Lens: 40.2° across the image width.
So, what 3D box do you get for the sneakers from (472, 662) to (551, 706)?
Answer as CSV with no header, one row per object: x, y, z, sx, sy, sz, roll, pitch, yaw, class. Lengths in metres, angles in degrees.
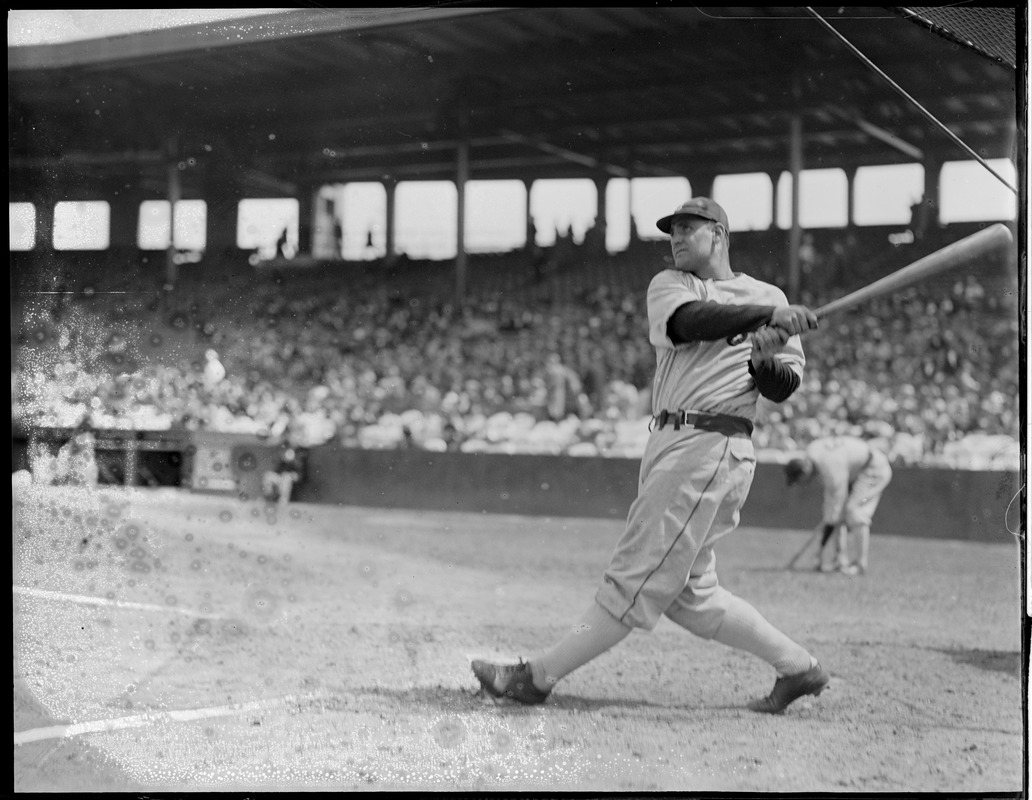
-0.029,1.047,5.289,0.304,0.152,0.120,21,-10,18,sneakers

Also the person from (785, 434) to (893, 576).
1.767,0.557,7.778,0.538,0.791,0.346,-3,15,-1,person

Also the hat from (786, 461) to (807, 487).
1.534,0.394,7.754,0.083,0.138,0.127,-1,-9,0,hat

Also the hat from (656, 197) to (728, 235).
0.666,-0.700,5.278,0.180,0.110,0.144,15,-3,0,hat

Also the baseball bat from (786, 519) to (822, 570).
1.721,0.873,8.413,0.037,0.399,0.041,23,24,-7,baseball bat
